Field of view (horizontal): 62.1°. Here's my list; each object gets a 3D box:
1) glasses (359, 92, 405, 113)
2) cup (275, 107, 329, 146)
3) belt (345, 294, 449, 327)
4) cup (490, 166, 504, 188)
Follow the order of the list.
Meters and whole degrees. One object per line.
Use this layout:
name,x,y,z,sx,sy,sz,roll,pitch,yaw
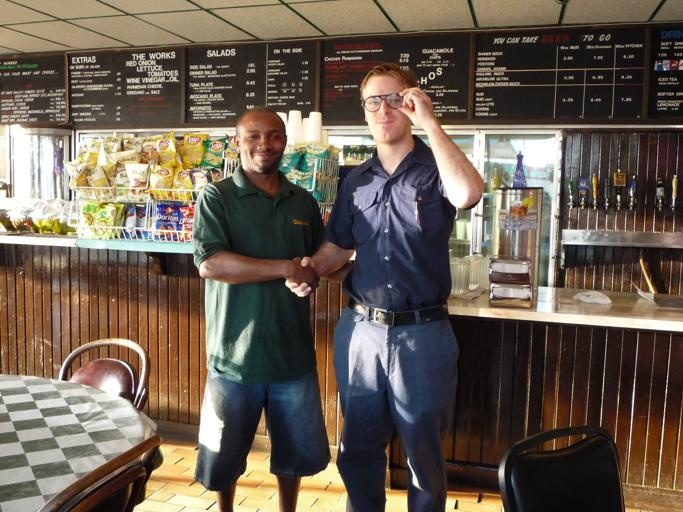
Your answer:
glasses,0.155,-0.620,2.268,0.185,0.074,0.047,3,7,29
cup,-0.221,-0.683,3.156,0.277,0.251,0.279,1,6,0
belt,0.233,0.227,2.388,0.414,0.097,0.176,1,6,5
cup,1.333,-0.708,4.892,0.076,0.170,0.132,6,8,43
